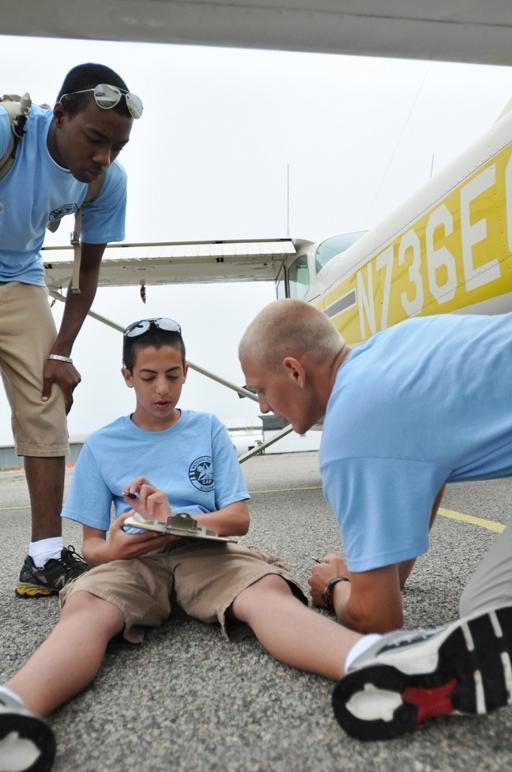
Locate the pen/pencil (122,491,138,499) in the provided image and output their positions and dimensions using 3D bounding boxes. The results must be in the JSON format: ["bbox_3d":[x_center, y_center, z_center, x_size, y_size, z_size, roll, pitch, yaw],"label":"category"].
[{"bbox_3d":[-0.263,0.229,1.422,0.013,0.016,0.059,-12,-15,27],"label":"pen/pencil"}]
